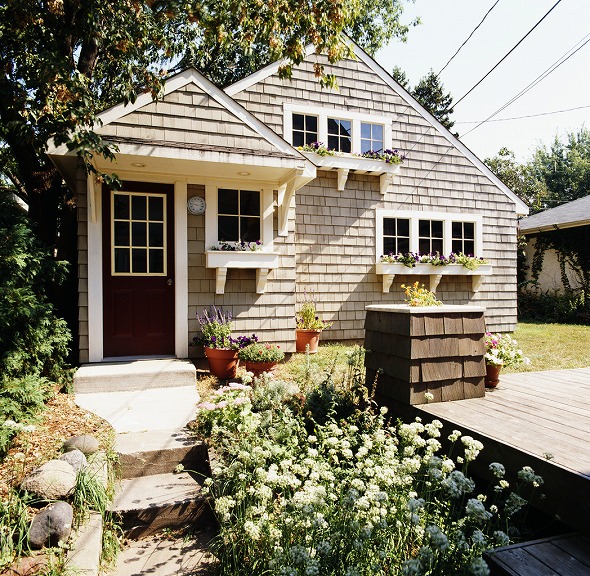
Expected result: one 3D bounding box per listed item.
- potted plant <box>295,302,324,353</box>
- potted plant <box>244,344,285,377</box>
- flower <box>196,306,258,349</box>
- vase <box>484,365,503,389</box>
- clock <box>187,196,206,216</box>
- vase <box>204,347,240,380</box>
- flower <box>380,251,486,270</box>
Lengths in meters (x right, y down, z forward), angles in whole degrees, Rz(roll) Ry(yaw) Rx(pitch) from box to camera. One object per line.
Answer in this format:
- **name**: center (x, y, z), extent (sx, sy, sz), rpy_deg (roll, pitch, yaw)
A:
- **potted plant**: center (0.230, 0.625, 8.531), extent (0.434, 0.747, 0.826), rpy_deg (-1, 0, 2)
- **potted plant**: center (-0.418, 0.863, 6.460), extent (0.444, 0.367, 0.356), rpy_deg (0, 0, 39)
- **flower**: center (-0.888, 0.499, 6.841), extent (0.601, 0.534, 0.797), rpy_deg (-1, 0, -27)
- **vase**: center (1.872, 0.853, 5.108), extent (0.190, 0.264, 0.192), rpy_deg (-1, -9, 4)
- **clock**: center (-1.307, -1.096, 7.069), extent (0.241, 0.257, 0.068), rpy_deg (-1, 0, -12)
- **vase**: center (-0.905, 0.927, 6.570), extent (0.371, 0.315, 0.373), rpy_deg (-13, -20, 42)
- **flower**: center (2.544, -0.508, 9.930), extent (1.646, 0.172, 0.314), rpy_deg (4, 27, -25)
